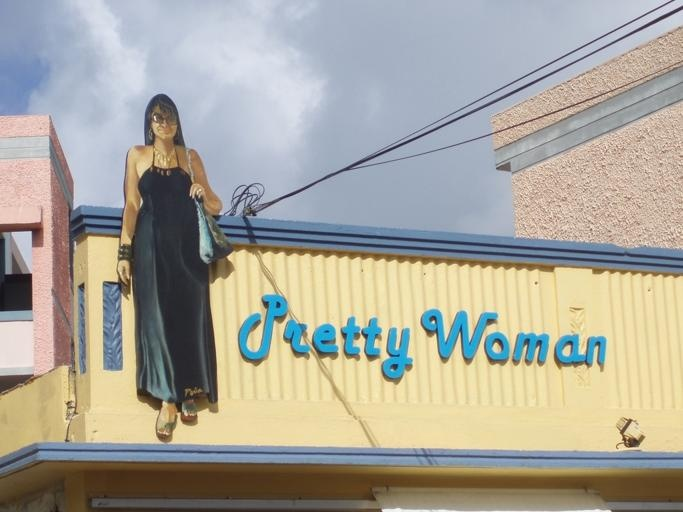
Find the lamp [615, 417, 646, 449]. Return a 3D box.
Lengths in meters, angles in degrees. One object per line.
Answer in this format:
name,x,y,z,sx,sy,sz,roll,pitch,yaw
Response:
lamp,4.685,2.855,29.522,0.337,0.526,0.672,-2,-8,-9

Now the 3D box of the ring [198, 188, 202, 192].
ring,-2.207,-1.046,28.314,0.058,0.053,0.013,2,-4,-14

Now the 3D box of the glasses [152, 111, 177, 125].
glasses,-2.761,-2.172,28.277,0.283,0.188,0.140,19,-21,-10

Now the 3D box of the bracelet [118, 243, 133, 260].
bracelet,-3.305,-0.077,27.754,0.222,0.210,0.219,3,-15,-10
